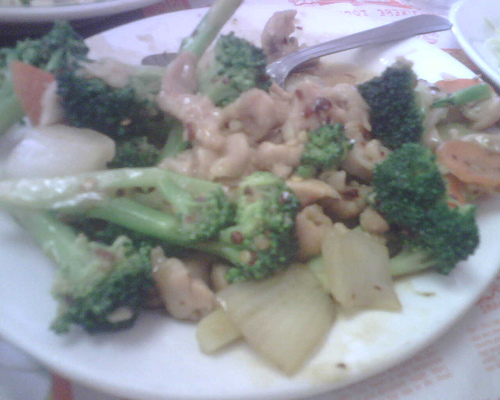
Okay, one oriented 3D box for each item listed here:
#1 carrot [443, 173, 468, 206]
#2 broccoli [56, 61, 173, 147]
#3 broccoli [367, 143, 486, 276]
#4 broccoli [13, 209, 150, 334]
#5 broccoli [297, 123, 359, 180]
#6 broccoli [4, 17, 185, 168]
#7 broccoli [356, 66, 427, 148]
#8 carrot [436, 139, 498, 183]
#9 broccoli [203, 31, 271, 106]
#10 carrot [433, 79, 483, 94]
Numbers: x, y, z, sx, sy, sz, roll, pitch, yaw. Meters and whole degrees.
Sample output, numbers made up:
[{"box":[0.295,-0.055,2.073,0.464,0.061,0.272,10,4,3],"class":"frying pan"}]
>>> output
[{"box":[0.641,-0.033,1.541,0.080,0.025,0.103,25,44,-37],"class":"carrot"},{"box":[-0.422,-0.286,1.456,0.238,0.284,0.132,15,88,-5],"class":"broccoli"},{"box":[0.510,0.042,1.447,0.310,0.165,0.400,-4,69,-4],"class":"broccoli"},{"box":[-0.516,0.242,1.452,0.411,0.200,0.283,29,35,29],"class":"broccoli"},{"box":[0.230,-0.144,1.471,0.171,0.057,0.195,13,68,6],"class":"broccoli"},{"box":[-0.461,-0.342,1.504,0.372,0.339,0.423,-26,56,-17],"class":"broccoli"},{"box":[0.471,-0.305,1.583,0.185,0.151,0.228,-12,53,-7],"class":"broccoli"},{"box":[0.696,-0.127,1.554,0.170,0.030,0.120,23,72,10],"class":"carrot"},{"box":[-0.037,-0.394,1.590,0.218,0.086,0.253,13,18,-29],"class":"broccoli"},{"box":[0.739,-0.413,1.695,0.163,0.013,0.075,-19,54,-13],"class":"carrot"}]
